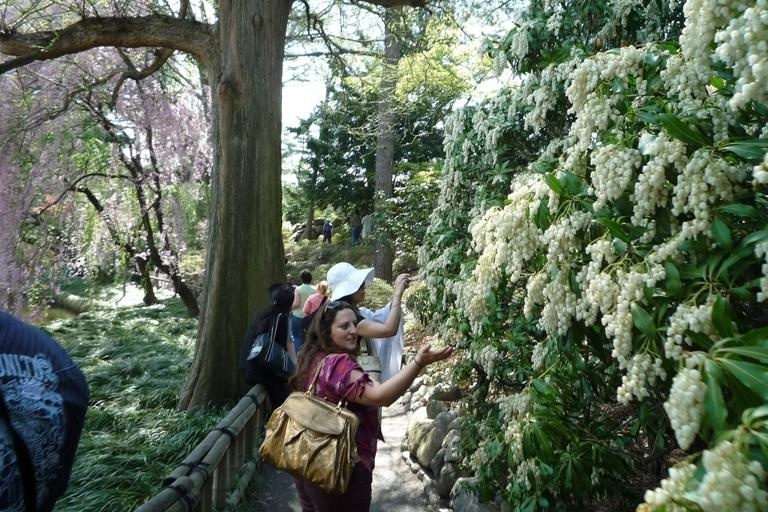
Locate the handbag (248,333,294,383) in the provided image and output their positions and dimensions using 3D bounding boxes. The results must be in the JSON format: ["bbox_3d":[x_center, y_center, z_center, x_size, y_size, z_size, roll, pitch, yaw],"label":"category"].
[{"bbox_3d":[-1.056,0.856,4.220,0.349,0.337,0.144,31,27,33],"label":"handbag"}]

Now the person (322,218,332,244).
[{"bbox_3d":[-2.663,-1.140,22.334,0.389,0.925,1.397,2,-1,-7],"label":"person"}]

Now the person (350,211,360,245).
[{"bbox_3d":[-1.174,-1.173,20.090,0.362,1.203,1.135,2,-1,-4],"label":"person"}]

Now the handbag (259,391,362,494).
[{"bbox_3d":[-0.386,0.932,2.533,0.506,0.525,0.213,15,-7,20],"label":"handbag"}]
